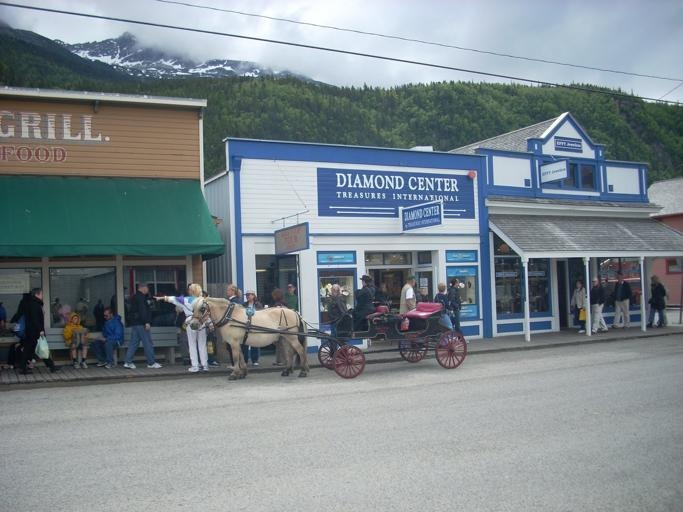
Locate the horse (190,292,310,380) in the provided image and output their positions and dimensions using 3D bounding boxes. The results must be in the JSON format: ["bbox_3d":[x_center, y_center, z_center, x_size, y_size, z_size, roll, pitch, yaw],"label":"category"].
[{"bbox_3d":[-2.197,2.030,18.394,2.675,2.082,0.717,-1,4,-4],"label":"horse"}]

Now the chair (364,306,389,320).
[{"bbox_3d":[0.935,1.416,18.479,0.505,0.281,0.754,1,4,18],"label":"chair"}]
